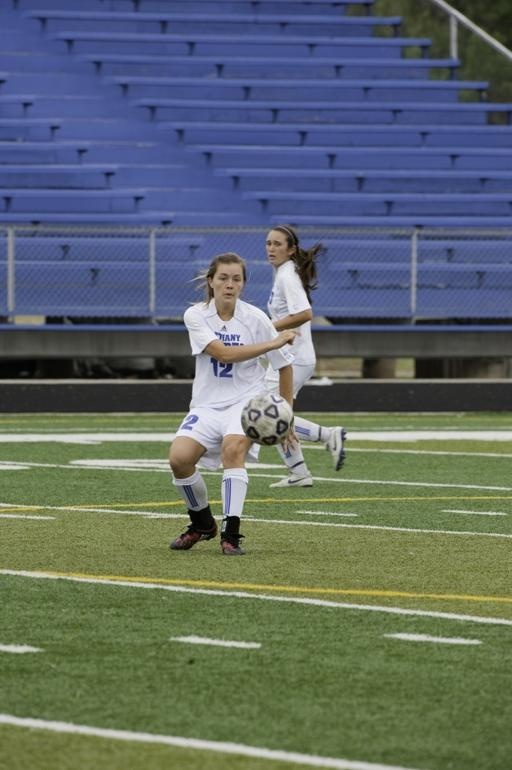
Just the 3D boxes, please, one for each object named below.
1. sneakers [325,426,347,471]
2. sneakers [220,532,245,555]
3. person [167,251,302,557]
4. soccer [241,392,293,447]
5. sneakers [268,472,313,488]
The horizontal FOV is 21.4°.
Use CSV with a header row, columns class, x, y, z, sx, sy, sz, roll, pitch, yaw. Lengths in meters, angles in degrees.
class,x,y,z,sx,sy,sz,roll,pitch,yaw
sneakers,0.509,0.419,8.494,0.169,0.297,0.105,-5,23,5
sneakers,-0.099,0.663,5.545,0.140,0.044,0.095,5,11,11
person,-0.100,0.079,5.779,0.511,1.275,0.652,1,3,-1
soccer,0.047,0.151,5.697,0.228,0.212,0.255,-8,-16,16
sneakers,0.186,0.574,8.088,0.301,0.116,0.094,-1,-3,17
